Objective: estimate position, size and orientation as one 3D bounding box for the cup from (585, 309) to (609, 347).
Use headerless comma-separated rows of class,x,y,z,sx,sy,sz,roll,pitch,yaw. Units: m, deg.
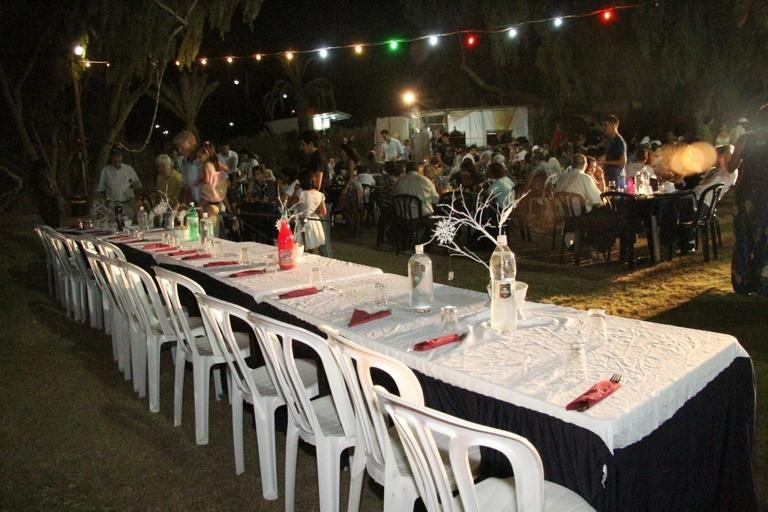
cup,1.211,0.414,3.148,0.128,0.220,0.137,-6,7,1
